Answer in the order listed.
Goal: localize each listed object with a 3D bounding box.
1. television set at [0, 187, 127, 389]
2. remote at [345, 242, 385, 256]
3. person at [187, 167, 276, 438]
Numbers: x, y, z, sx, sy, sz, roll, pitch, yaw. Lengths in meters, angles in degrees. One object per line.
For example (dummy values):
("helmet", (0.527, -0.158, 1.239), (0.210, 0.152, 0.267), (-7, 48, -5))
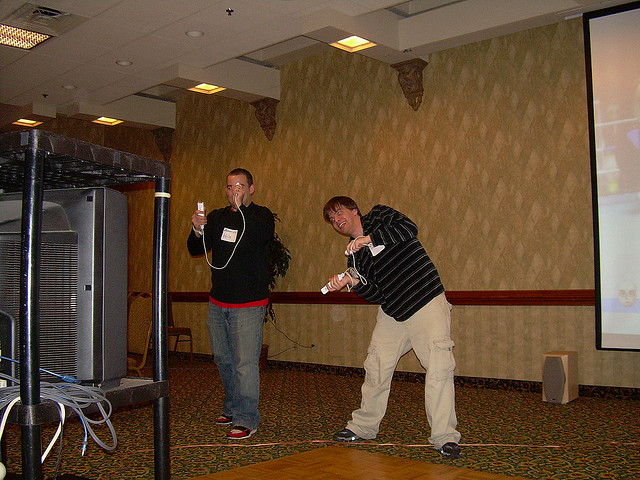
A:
("television set", (-0.801, 0.150, 1.543), (0.396, 0.631, 0.269), (2, -7, -22))
("remote", (0.369, 0.063, 3.385), (0.139, 0.077, 0.177), (-1, -6, 7))
("person", (-0.704, 0.492, 4.029), (0.639, 2.081, 0.477), (1, -7, -11))
